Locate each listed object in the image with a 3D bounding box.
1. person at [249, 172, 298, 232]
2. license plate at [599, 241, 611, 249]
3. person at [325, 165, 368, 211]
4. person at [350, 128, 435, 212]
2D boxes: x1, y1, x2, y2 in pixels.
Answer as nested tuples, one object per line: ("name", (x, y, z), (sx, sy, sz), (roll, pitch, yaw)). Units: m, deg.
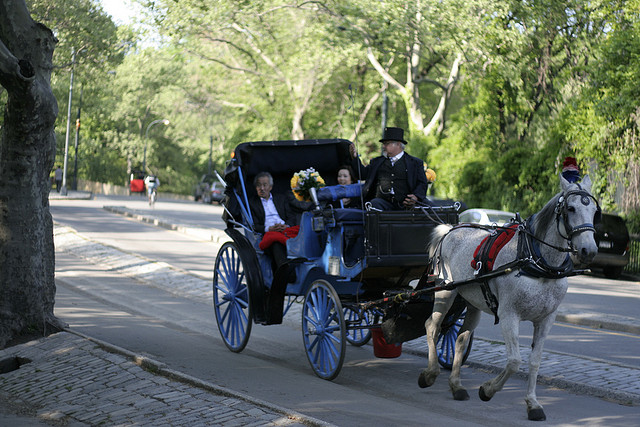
("person", (-1.145, -0.287, 24.117), (1.126, 1.303, 0.813), (1, 14, -6))
("license plate", (9.818, 1.081, 34.661), (0.317, 0.204, 0.228), (3, -2, 11))
("person", (0.598, -0.624, 23.913), (0.859, 1.114, 0.428), (-5, -11, 17))
("person", (1.736, -1.031, 23.067), (1.486, 1.761, 1.056), (3, 14, 4))
